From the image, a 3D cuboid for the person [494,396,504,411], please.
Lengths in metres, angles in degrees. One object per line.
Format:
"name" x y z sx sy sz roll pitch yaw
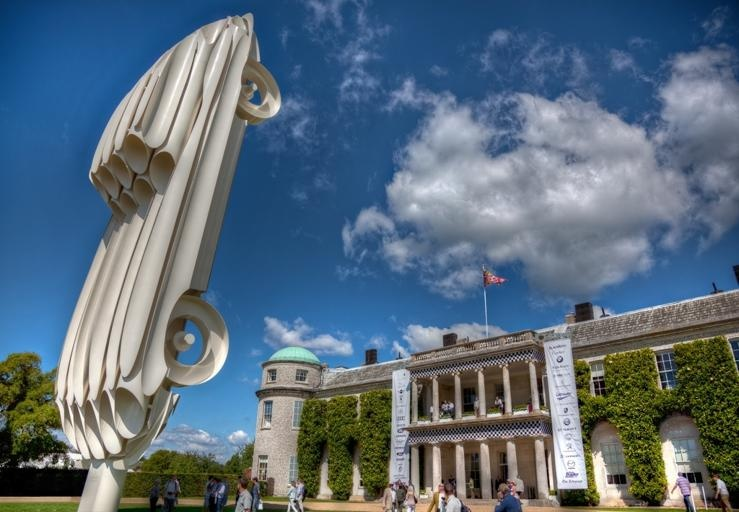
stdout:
"person" 10.041 11.496 39.117 0.534 1.106 1.111 -9 -28 19
